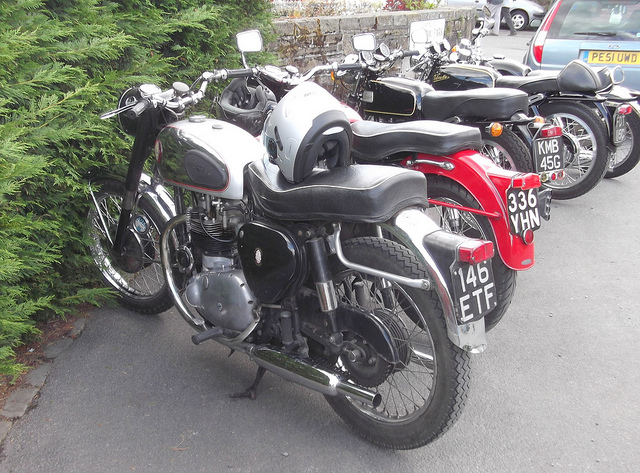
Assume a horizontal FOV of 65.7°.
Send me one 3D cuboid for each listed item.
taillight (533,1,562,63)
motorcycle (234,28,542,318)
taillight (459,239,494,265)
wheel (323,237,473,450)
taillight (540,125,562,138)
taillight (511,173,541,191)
[{"bbox_3d":[3.124,-2.909,7.037,0.289,0.749,0.373,13,30,18],"label":"taillight"},{"bbox_3d":[0.616,-0.475,4.333,2.588,1.791,1.600,26,34,29],"label":"motorcycle"},{"bbox_3d":[0.708,0.075,2.260,0.120,0.131,0.050,7,9,22],"label":"taillight"},{"bbox_3d":[0.371,0.616,2.832,0.323,1.224,1.104,-13,4,-43],"label":"wheel"},{"bbox_3d":[1.989,-0.907,4.283,0.278,0.107,0.082,-5,5,-38],"label":"taillight"},{"bbox_3d":[1.317,-0.352,3.173,0.102,0.053,0.143,8,-12,-38],"label":"taillight"}]
